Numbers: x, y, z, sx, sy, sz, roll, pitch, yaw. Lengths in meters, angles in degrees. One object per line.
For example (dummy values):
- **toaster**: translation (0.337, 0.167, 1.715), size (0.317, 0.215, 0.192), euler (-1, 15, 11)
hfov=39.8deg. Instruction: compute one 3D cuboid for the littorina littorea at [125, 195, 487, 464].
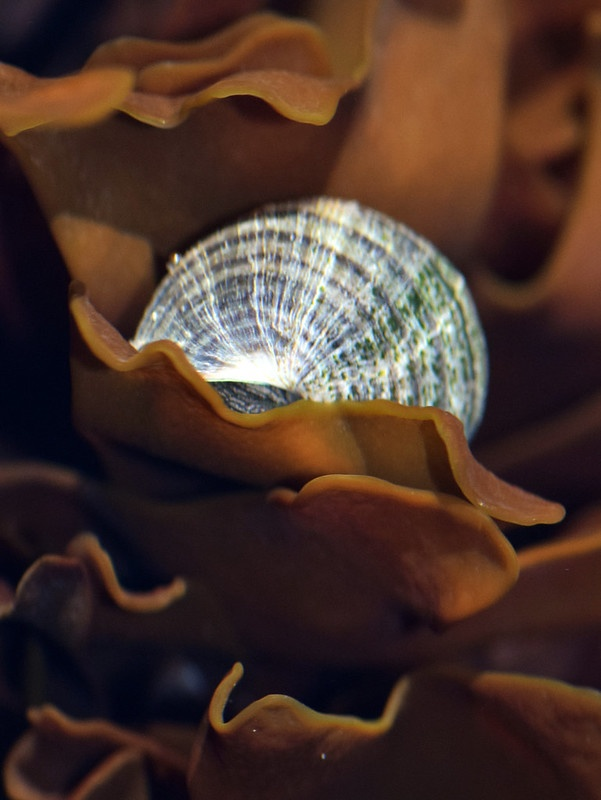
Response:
- **littorina littorea**: translation (0.013, -0.060, 0.655), size (0.281, 0.134, 0.179), euler (-7, 49, -17)
